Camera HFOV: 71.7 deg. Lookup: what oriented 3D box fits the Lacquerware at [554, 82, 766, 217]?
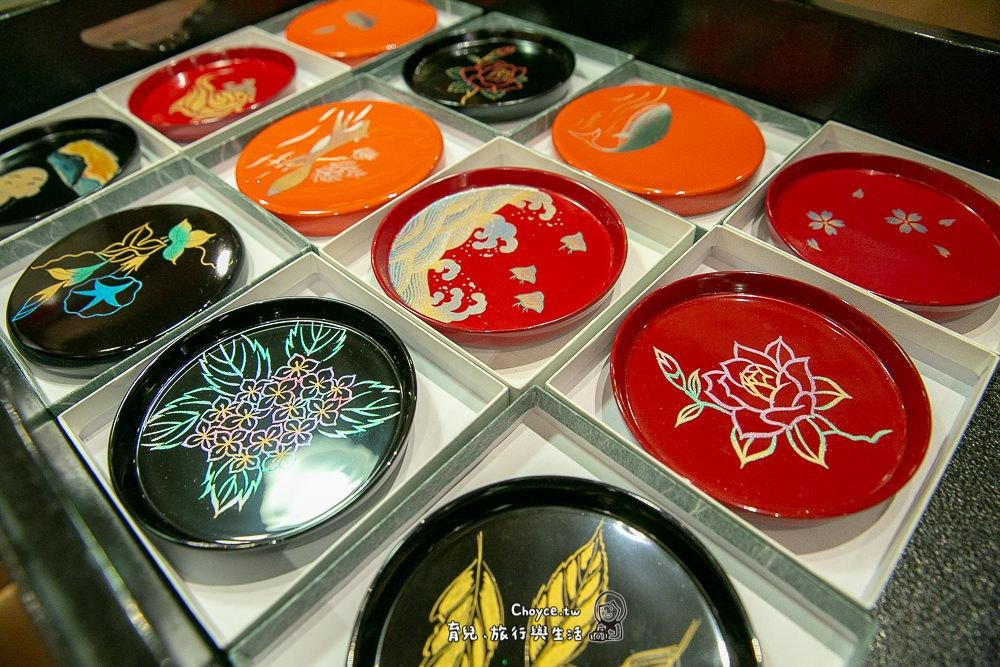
[{"bbox_3d":[0.452,-0.545,2.065,0.537,0.120,0.427,18,51,17],"label":"Lacquerware"}]
